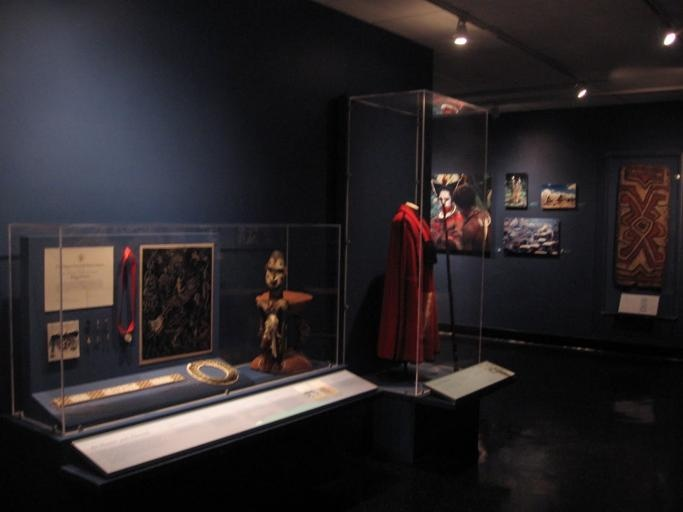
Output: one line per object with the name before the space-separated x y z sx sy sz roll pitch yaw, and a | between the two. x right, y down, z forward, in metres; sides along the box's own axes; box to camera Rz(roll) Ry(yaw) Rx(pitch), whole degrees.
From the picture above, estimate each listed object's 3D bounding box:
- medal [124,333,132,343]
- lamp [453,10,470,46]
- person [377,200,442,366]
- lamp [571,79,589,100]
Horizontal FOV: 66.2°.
medal | -1.020 0.389 2.498 0.043 0.045 0.010 31 -13 -40
lamp | 0.945 -1.759 4.099 0.093 0.211 0.281 4 8 12
person | 0.475 0.178 3.575 0.413 1.084 0.189 4 8 12
lamp | 2.390 -1.675 5.240 0.135 0.138 0.245 8 14 4
